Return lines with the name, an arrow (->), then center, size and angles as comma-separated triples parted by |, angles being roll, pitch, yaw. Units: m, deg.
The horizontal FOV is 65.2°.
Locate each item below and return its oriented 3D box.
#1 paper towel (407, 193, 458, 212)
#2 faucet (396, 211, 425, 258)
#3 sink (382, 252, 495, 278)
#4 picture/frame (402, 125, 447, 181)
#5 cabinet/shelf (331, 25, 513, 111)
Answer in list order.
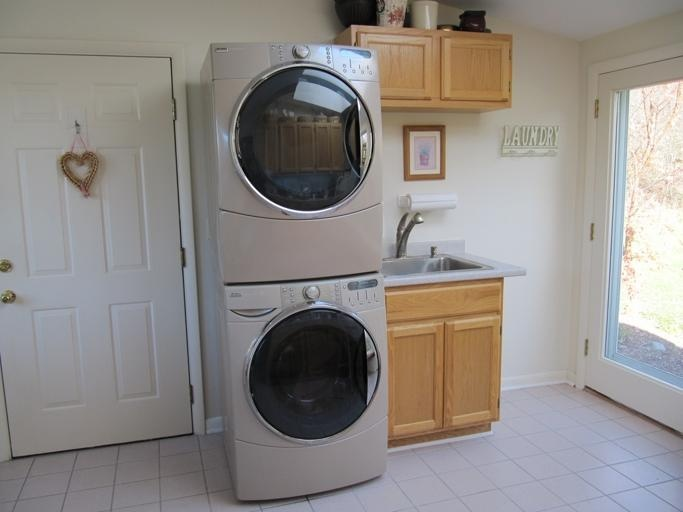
paper towel -> 0.593, -0.343, 3.544 | 0.325, 0.105, 0.106 | 0, 10, 6
faucet -> 0.441, -0.128, 3.509 | 0.176, 0.303, 0.310 | -1, 10, 6
sink -> 0.647, 0.071, 3.515 | 0.688, 0.110, 0.370 | 3, 11, 22
picture/frame -> 0.541, -0.684, 3.582 | 0.360, 0.437, 0.036 | -3, 6, -19
cabinet/shelf -> 0.536, -1.131, 3.394 | 1.071, 0.450, 0.401 | -4, 10, -19
